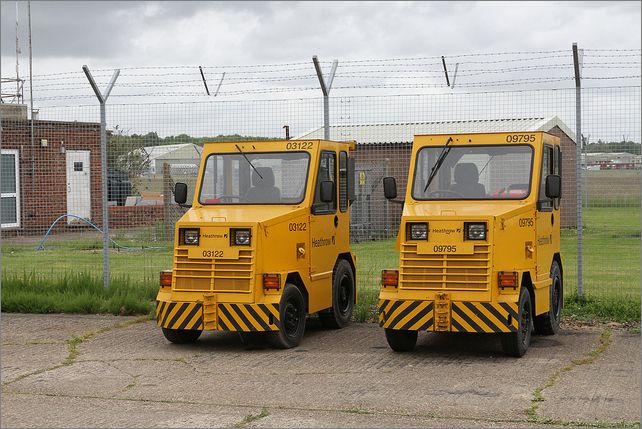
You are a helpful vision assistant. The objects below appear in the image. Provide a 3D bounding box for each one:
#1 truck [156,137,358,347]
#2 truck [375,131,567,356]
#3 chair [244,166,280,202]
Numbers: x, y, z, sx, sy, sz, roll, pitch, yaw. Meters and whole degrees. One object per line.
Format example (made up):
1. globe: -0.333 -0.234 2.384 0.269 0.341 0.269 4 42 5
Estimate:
1. truck: -1.064 0.430 14.880 2.735 3.417 4.166 2 2 23
2. truck: 2.254 0.296 14.204 2.599 3.270 3.790 0 2 23
3. chair: -0.995 -0.472 14.091 0.481 0.771 0.633 -1 -6 9
